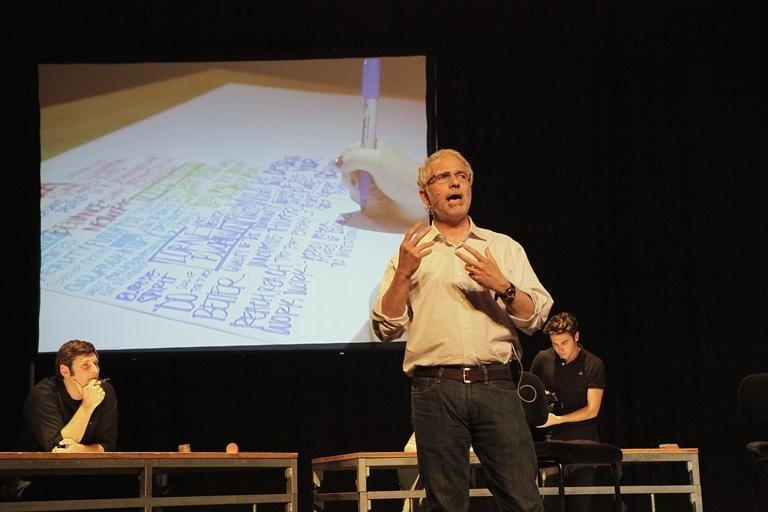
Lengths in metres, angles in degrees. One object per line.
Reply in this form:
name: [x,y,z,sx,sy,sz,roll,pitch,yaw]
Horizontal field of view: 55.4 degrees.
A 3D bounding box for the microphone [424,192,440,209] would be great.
microphone: [0.285,-0.328,4.230,0.067,0.094,0.080,-2,37,11]
